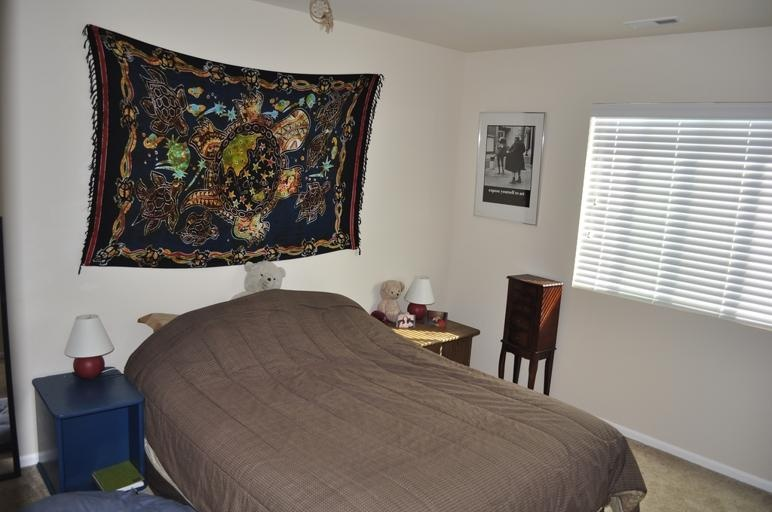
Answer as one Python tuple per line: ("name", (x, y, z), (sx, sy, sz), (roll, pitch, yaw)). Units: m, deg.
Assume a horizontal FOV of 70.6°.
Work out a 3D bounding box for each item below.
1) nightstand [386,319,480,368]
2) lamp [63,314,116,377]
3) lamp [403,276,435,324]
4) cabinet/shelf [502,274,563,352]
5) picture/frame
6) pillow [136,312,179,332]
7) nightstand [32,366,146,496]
("nightstand", (0.430, 0.715, 5.162), (0.510, 0.526, 0.549), (-8, 15, -41))
("lamp", (-2.075, 0.637, 3.792), (0.293, 0.441, 0.299), (-1, 7, -8))
("lamp", (0.319, 0.398, 5.258), (0.307, 0.426, 0.299), (6, 11, -1))
("cabinet/shelf", (1.322, 0.558, 4.946), (0.505, 0.658, 0.497), (7, 3, 14))
("picture/frame", (1.176, -0.853, 5.191), (0.687, 1.021, 0.100), (12, 12, 43))
("pillow", (-1.741, 0.470, 4.095), (0.240, 0.058, 0.146), (-15, 11, -34))
("nightstand", (-1.987, 1.182, 3.634), (0.566, 0.569, 0.608), (13, 11, 40))
